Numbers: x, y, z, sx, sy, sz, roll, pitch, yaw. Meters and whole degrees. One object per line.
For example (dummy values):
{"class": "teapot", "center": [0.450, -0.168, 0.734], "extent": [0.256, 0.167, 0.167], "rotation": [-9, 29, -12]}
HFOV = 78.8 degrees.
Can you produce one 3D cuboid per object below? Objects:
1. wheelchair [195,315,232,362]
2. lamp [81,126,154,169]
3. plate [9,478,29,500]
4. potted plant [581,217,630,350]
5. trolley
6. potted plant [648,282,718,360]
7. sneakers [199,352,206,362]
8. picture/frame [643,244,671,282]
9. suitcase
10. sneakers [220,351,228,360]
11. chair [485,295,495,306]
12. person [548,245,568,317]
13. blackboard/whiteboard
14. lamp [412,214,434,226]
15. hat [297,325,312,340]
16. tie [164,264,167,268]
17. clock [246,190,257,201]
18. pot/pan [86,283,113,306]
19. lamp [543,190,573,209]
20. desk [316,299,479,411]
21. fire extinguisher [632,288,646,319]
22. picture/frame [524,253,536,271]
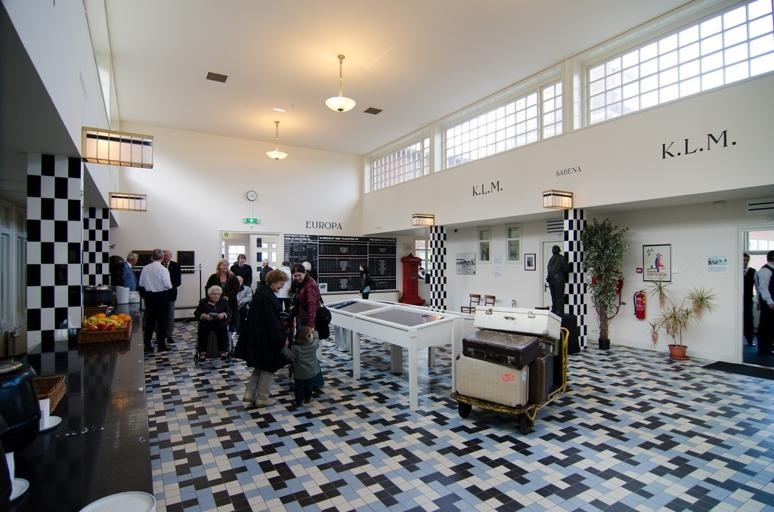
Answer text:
{"class": "wheelchair", "center": [-3.398, 1.700, 9.782], "extent": [0.684, 0.991, 0.893], "rotation": [2, -22, -16]}
{"class": "lamp", "center": [-3.979, -1.609, 7.010], "extent": [0.914, 0.486, 0.136], "rotation": [4, 12, -14]}
{"class": "plate", "center": [-3.076, 1.923, 3.916], "extent": [0.128, 0.110, 0.182], "rotation": [-8, 15, -30]}
{"class": "potted plant", "center": [4.967, 0.582, 11.020], "extent": [0.977, 2.834, 1.236], "rotation": [10, 16, 36]}
{"class": "trolley", "center": [2.088, 1.766, 7.508], "extent": [1.178, 1.407, 1.589], "rotation": [1, 3, 40]}
{"class": "potted plant", "center": [6.346, 1.369, 10.012], "extent": [1.324, 1.615, 0.886], "rotation": [2, -2, 13]}
{"class": "sneakers", "center": [-3.784, 2.036, 9.553], "extent": [0.174, 0.170, 0.150], "rotation": [-1, -1, 12]}
{"class": "picture/frame", "center": [6.032, 0.142, 10.423], "extent": [0.042, 1.178, 0.808], "rotation": [7, -7, -34]}
{"class": "suitcase", "center": [1.805, 1.503, 7.197], "extent": [1.534, 1.277, 1.074], "rotation": [4, 14, 18]}
{"class": "sneakers", "center": [-3.382, 2.035, 9.700], "extent": [0.157, 0.157, 0.145], "rotation": [-7, -23, 43]}
{"class": "chair", "center": [3.036, 1.275, 13.870], "extent": [0.362, 0.273, 0.145], "rotation": [7, 15, 30]}
{"class": "person", "center": [3.910, 0.559, 10.683], "extent": [0.379, 1.560, 0.578], "rotation": [-3, 14, -13]}
{"class": "blackboard/whiteboard", "center": [-1.354, 0.306, 17.882], "extent": [0.148, 2.120, 4.153], "rotation": [-5, -5, 43]}
{"class": "lamp", "center": [1.104, -1.071, 14.439], "extent": [0.653, 0.438, 0.500], "rotation": [-5, 14, -23]}
{"class": "hat", "center": [-1.316, 1.217, 7.525], "extent": [0.170, 0.216, 0.221], "rotation": [-2, -7, 38]}
{"class": "tie", "center": [-5.140, 0.208, 10.851], "extent": [0.055, 0.063, 0.093], "rotation": [1, -2, -37]}
{"class": "clock", "center": [-4.666, -2.074, 16.032], "extent": [0.048, 0.287, 0.290], "rotation": [-7, 13, 44]}
{"class": "pot/pan", "center": [-4.879, 0.660, 7.906], "extent": [0.335, 0.348, 0.458], "rotation": [3, -4, -43]}
{"class": "lamp", "center": [3.761, -1.228, 10.318], "extent": [0.750, 0.494, 0.404], "rotation": [2, -2, -36]}
{"class": "desk", "center": [-0.169, 1.612, 8.968], "extent": [1.202, 1.354, 3.300], "rotation": [-2, 3, -34]}
{"class": "fire extinguisher", "center": [5.775, 1.101, 10.704], "extent": [0.158, 0.687, 0.311], "rotation": [-3, 13, -13]}
{"class": "picture/frame", "center": [3.914, 0.153, 12.785], "extent": [0.030, 0.607, 0.454], "rotation": [6, -5, -27]}
